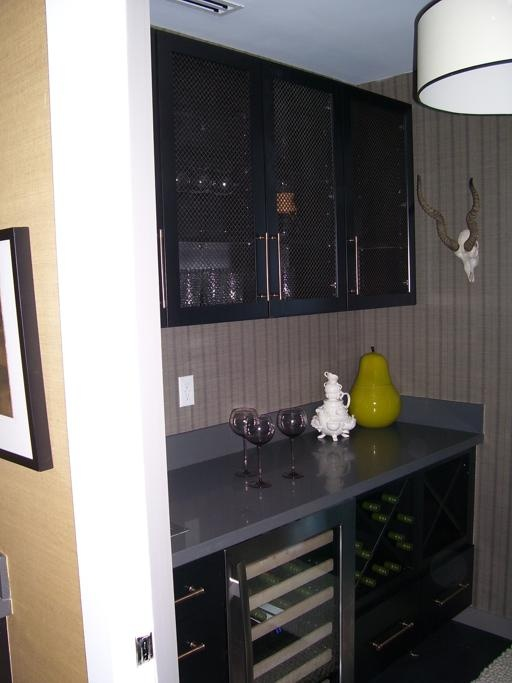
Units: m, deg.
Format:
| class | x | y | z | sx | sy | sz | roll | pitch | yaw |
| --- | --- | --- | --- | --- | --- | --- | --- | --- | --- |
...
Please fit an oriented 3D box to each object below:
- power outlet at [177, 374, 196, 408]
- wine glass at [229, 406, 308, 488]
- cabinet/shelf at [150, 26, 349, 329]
| class | x | y | z | sx | sy | sz | roll | pitch | yaw |
| --- | --- | --- | --- | --- | --- | --- | --- | --- | --- |
| power outlet | -0.255 | 0.175 | 2.007 | 0.007 | 0.161 | 0.104 | 3 | 4 | 33 |
| wine glass | 0.036 | 0.381 | 1.983 | 0.076 | 0.207 | 0.202 | 0 | 0 | 43 |
| cabinet/shelf | -0.024 | -0.518 | 1.735 | 0.324 | 0.935 | 0.902 | 2 | 7 | 36 |
